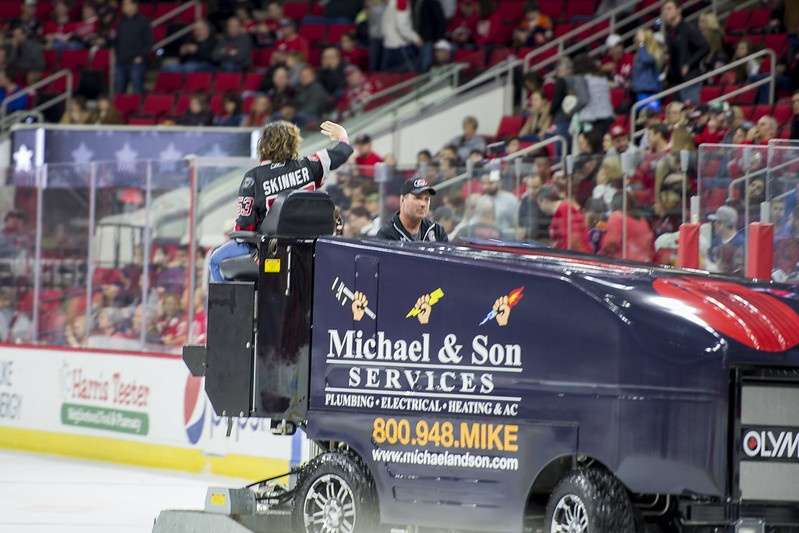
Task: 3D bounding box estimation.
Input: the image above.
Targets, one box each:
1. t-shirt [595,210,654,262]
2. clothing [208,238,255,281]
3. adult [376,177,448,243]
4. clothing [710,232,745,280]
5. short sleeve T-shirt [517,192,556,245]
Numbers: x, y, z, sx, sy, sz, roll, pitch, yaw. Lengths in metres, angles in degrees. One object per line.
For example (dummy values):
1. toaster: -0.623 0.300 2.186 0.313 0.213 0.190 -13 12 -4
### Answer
1. t-shirt: 2.604 -0.402 21.696 0.611 0.611 0.342 -14 33 -27
2. clothing: -1.745 -0.085 19.465 0.441 0.445 0.345 7 -6 8
3. adult: 0.137 -0.544 19.714 0.874 0.802 0.587 0 3 -40
4. clothing: 3.543 -0.129 20.793 0.428 0.444 0.230 1 -6 41
5. short sleeve T-shirt: 1.508 -0.599 22.335 0.290 0.583 0.296 -2 2 -10
